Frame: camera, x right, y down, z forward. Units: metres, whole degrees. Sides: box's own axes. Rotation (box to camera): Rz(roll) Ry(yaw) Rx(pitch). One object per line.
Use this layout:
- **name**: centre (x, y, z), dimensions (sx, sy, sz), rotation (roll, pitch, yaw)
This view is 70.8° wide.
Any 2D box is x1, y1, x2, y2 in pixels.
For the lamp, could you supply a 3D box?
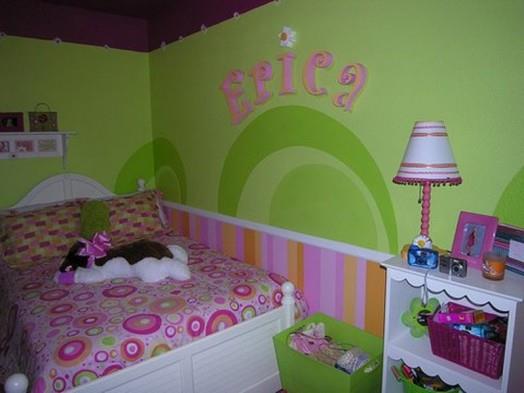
- **lamp**: centre (0.887, -0.027, 1.972), dimensions (0.302, 0.744, 0.325), rotation (10, 11, 41)

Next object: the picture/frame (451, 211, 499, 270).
- **picture/frame**: centre (1.072, 0.226, 1.847), dimensions (0.039, 0.368, 0.238), rotation (16, -6, -38)

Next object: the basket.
- **basket**: centre (1.011, 0.707, 1.828), dimensions (0.189, 0.177, 0.278), rotation (-10, 15, -41)

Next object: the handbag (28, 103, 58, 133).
- **handbag**: centre (-2.128, -0.759, 3.552), dimensions (0.119, 0.288, 0.237), rotation (15, 19, 42)

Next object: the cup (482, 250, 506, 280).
- **cup**: centre (1.101, 0.327, 1.758), dimensions (0.092, 0.120, 0.100), rotation (-5, 11, 1)

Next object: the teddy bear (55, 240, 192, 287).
- **teddy bear**: centre (-1.011, 0.501, 2.723), dimensions (0.544, 0.198, 0.455), rotation (-1, 1, -12)
